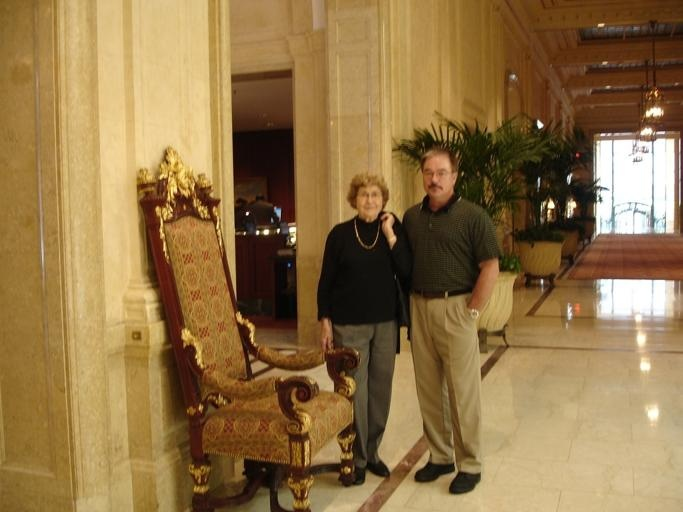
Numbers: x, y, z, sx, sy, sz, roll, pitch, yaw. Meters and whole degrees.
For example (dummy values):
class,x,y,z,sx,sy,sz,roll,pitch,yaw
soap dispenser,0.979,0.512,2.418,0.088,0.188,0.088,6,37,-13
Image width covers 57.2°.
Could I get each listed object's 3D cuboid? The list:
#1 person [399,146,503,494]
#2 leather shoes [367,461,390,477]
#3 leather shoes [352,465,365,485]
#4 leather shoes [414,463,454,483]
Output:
class,x,y,z,sx,sy,sz,roll,pitch,yaw
person,0.687,0.383,3.865,0.603,2.093,0.294,-3,2,18
leather shoes,0.241,1.356,4.032,0.159,0.077,0.066,-2,3,43
leather shoes,0.102,1.367,3.909,0.078,0.102,0.223,-1,-15,6
leather shoes,0.582,1.347,3.978,0.255,0.130,0.099,2,-4,-24
